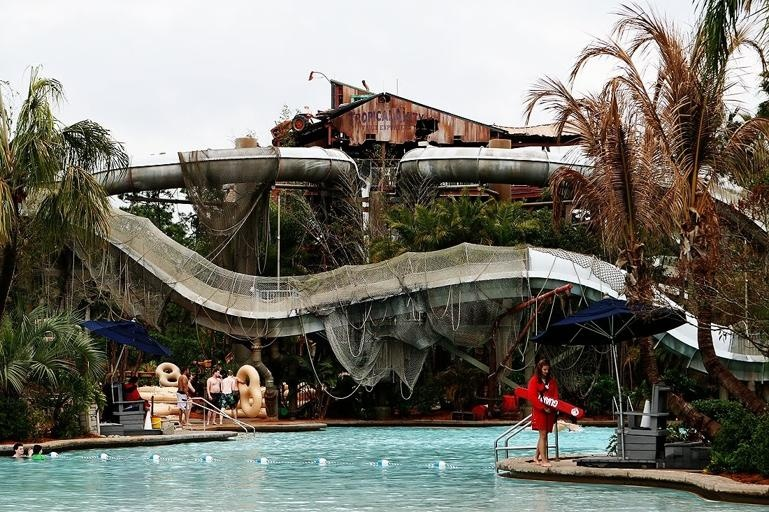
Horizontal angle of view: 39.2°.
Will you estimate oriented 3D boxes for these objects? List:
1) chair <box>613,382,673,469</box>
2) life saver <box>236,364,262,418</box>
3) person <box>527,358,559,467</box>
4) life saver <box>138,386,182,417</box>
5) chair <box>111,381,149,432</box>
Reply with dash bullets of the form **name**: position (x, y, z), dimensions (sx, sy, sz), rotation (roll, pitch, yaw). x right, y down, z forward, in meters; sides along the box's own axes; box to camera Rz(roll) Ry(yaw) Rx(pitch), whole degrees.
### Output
- **chair**: position (5.871, 3.797, 24.360), dimensions (1.316, 2.107, 1.510), rotation (1, -6, 16)
- **life saver**: position (-4.551, 4.535, 36.928), dimensions (0.283, 1.270, 1.447), rotation (-2, 16, -32)
- **person**: position (3.535, 3.456, 23.968), dimensions (0.603, 2.385, 1.510), rotation (-1, 3, 8)
- **life saver**: position (-7.666, 5.002, 37.974), dimensions (1.350, 0.569, 1.478), rotation (4, 2, 21)
- **chair**: position (-7.098, 4.116, 30.464), dimensions (0.746, 1.376, 1.112), rotation (-3, 1, -16)
